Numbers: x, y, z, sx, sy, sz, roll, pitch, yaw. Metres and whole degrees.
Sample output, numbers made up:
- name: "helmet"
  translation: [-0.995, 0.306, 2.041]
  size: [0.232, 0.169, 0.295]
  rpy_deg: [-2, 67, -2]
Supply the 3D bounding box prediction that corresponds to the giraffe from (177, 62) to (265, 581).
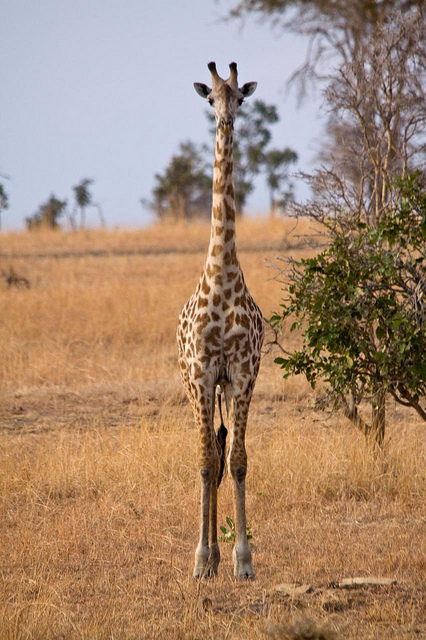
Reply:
- name: "giraffe"
  translation: [0.058, -0.009, 9.454]
  size: [0.644, 4.051, 0.904]
  rpy_deg: [0, 6, 3]
